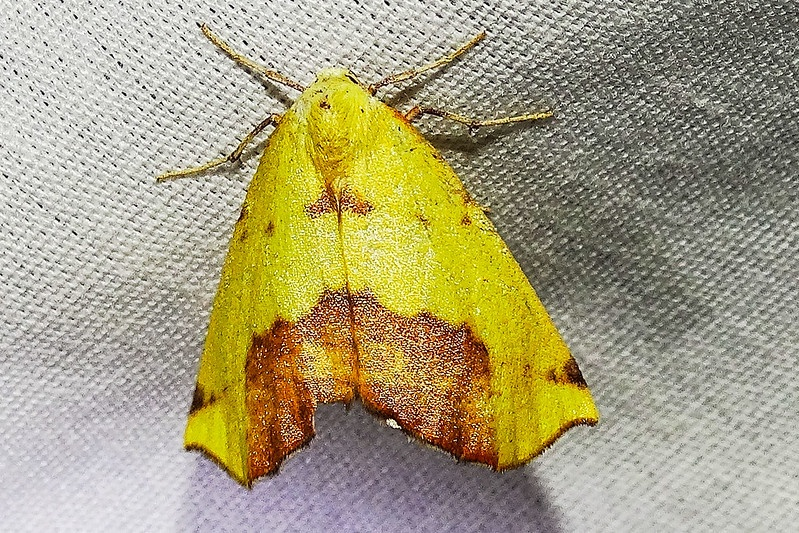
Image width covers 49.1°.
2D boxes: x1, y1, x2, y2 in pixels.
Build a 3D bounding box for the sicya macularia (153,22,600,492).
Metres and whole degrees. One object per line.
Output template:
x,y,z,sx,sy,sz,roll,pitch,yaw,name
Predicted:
-0.050,0.023,1.724,0.701,0.853,0.210,-3,4,7,sicya macularia
